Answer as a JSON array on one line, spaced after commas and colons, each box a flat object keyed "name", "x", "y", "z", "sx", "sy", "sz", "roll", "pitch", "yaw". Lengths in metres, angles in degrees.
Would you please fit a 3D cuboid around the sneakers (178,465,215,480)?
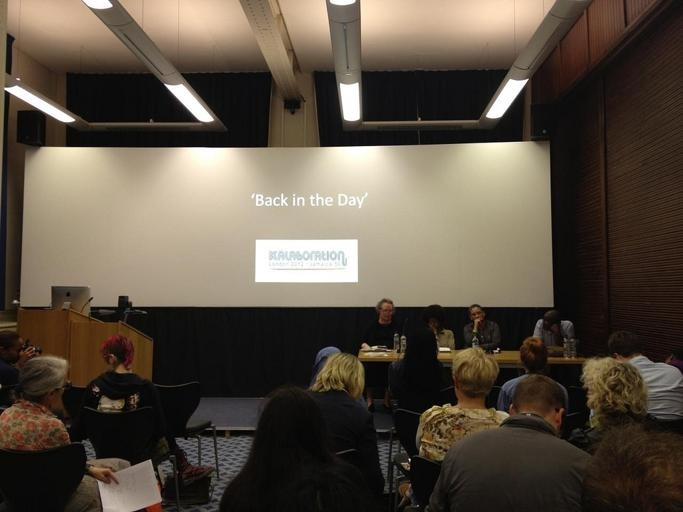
[{"name": "sneakers", "x": -1.365, "y": 2.042, "z": 5.226, "sx": 0.348, "sy": 0.163, "sz": 0.123, "roll": -1, "pitch": -2, "yaw": -13}]

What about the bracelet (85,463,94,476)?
[{"name": "bracelet", "x": -1.692, "y": 1.437, "z": 3.694, "sx": 0.058, "sy": 0.045, "sz": 0.102, "roll": 2, "pitch": 1, "yaw": -14}]
